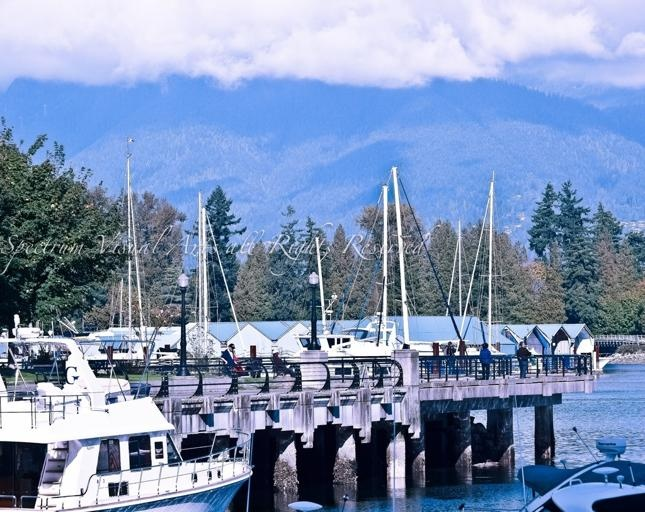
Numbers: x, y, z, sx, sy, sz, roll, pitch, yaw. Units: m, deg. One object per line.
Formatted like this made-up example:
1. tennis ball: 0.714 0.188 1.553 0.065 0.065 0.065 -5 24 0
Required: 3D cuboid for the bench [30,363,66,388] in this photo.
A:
1. bench: -10.273 4.478 62.150 0.789 0.934 1.332 -1 0 -16
